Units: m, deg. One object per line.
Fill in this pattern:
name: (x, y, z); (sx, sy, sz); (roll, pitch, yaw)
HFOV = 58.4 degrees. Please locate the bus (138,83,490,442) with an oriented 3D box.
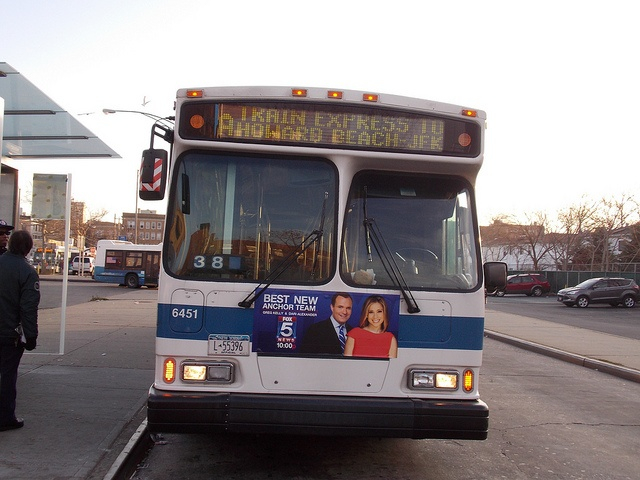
bus: (-0.203, 0.269, 7.962); (2.365, 2.631, 4.427); (1, -3, -5)

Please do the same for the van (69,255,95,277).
van: (-25.464, 2.891, 61.474); (1.679, 1.632, 3.175); (0, 7, -6)

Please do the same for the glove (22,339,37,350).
glove: (-3.390, 1.229, 6.746); (0.118, 0.055, 0.183); (2, -33, -11)

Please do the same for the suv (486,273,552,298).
suv: (14.209, 3.225, 39.622); (3.450, 1.674, 1.334); (3, 0, -13)
